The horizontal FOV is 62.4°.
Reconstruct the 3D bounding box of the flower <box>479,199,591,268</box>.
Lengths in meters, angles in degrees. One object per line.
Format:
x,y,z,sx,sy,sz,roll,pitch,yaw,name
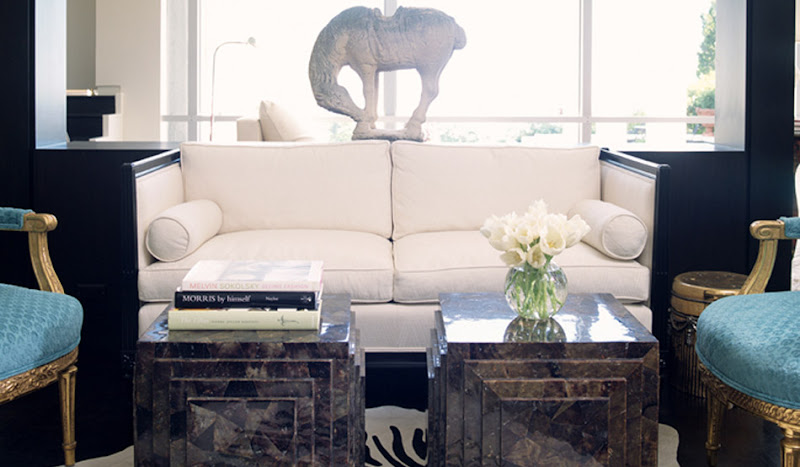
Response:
0.587,-0.001,2.818,0.342,0.341,0.193,-28,-17,2,flower

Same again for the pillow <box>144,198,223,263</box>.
-1.138,-0.014,3.548,0.219,0.249,0.446,5,14,25,pillow

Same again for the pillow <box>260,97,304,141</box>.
-0.817,-0.756,4.445,0.357,0.267,0.156,8,16,34,pillow

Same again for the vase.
0.579,0.253,2.934,0.249,0.238,0.248,0,4,-10,vase

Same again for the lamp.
-1.453,-1.285,5.859,0.530,0.997,2.109,-4,14,-15,lamp
